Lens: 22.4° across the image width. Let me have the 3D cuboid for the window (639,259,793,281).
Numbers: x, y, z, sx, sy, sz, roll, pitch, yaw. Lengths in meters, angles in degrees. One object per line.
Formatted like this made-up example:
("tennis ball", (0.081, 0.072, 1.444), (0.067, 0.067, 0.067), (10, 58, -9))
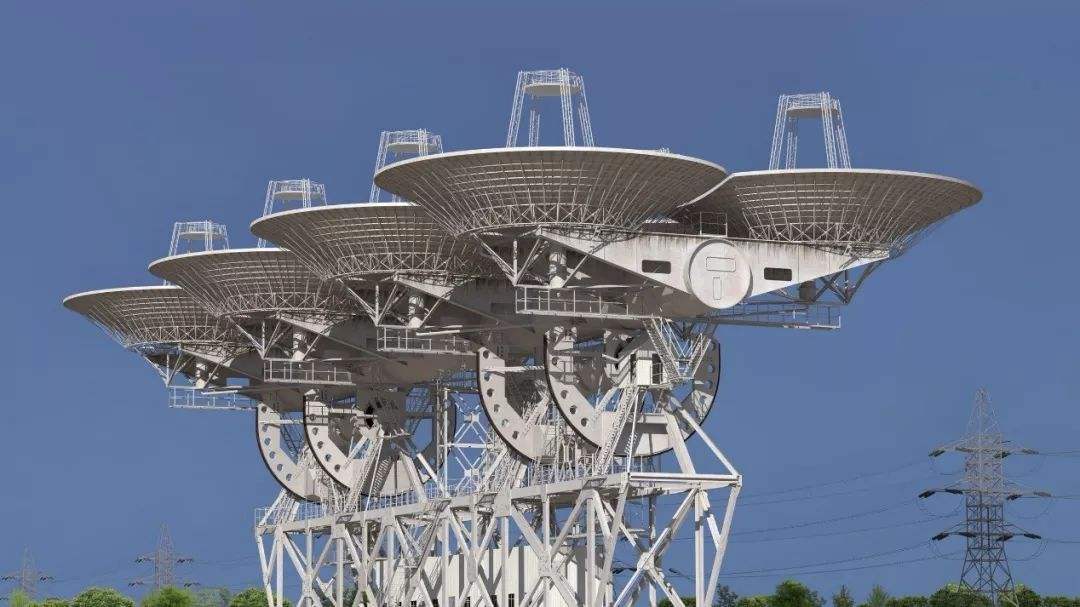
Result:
("window", (11.899, -2.232, 179.291), (9.772, 1.045, 0.369), (1, -15, -14))
